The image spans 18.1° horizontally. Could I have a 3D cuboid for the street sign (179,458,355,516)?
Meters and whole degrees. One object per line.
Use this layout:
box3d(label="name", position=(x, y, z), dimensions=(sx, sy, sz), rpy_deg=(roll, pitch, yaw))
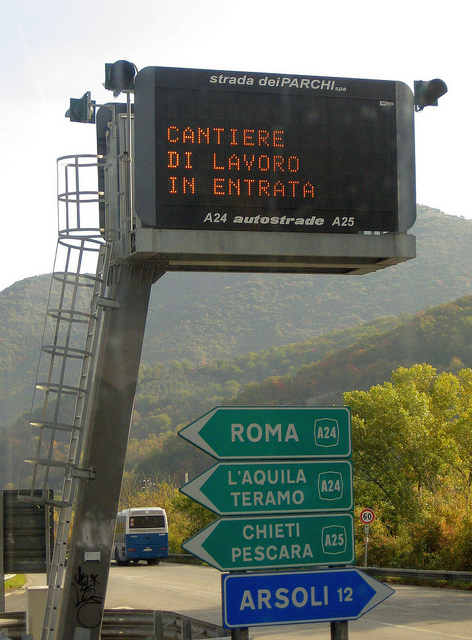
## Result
box3d(label="street sign", position=(0.423, 1.859, 16.404), dimensions=(1.797, 0.624, 0.086), rpy_deg=(-1, 0, -13))

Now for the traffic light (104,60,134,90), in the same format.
box3d(label="traffic light", position=(-1.660, -3.502, 21.178), dimensions=(0.400, 0.384, 0.316), rpy_deg=(-1, -1, -8))

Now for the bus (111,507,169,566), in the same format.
box3d(label="bus", position=(-3.564, 8.068, 54.867), dimensions=(1.566, 2.350, 4.573), rpy_deg=(1, -5, -12))

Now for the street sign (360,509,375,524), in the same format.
box3d(label="street sign", position=(3.394, 5.156, 38.381), dimensions=(0.257, 0.365, 0.745), rpy_deg=(-1, -1, 8))

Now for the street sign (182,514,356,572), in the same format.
box3d(label="street sign", position=(0.396, 2.477, 16.365), dimensions=(1.951, 0.035, 0.869), rpy_deg=(-2, 34, -1))

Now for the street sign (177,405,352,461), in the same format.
box3d(label="street sign", position=(0.394, 1.269, 16.403), dimensions=(1.816, 0.617, 0.112), rpy_deg=(-1, 0, -12))

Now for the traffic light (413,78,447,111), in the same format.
box3d(label="traffic light", position=(2.755, -3.240, 21.403), dimensions=(0.677, 0.482, 0.268), rpy_deg=(0, -1, -30))
